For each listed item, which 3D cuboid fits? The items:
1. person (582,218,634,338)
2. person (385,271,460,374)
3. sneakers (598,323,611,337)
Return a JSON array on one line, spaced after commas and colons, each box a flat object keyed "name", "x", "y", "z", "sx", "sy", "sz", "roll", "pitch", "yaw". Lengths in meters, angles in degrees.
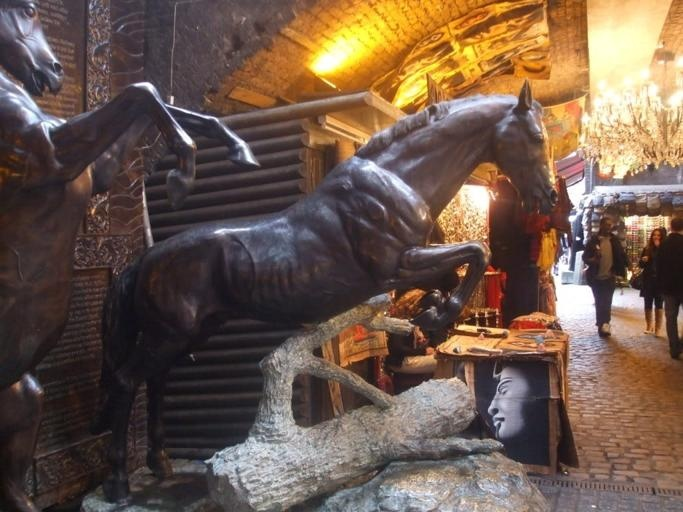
[{"name": "person", "x": 4.499, "y": 0.367, "z": 10.500, "sx": 0.675, "sy": 2.040, "sz": 1.014, "roll": 1, "pitch": -1, "yaw": 24}, {"name": "person", "x": 0.676, "y": 0.604, "z": 5.312, "sx": 0.528, "sy": 0.479, "sz": 1.000, "roll": 12, "pitch": -42, "yaw": -19}, {"name": "sneakers", "x": 4.646, "y": 1.285, "z": 10.811, "sx": 0.237, "sy": 0.265, "sz": 0.169, "roll": -3, "pitch": -3, "yaw": 33}]
